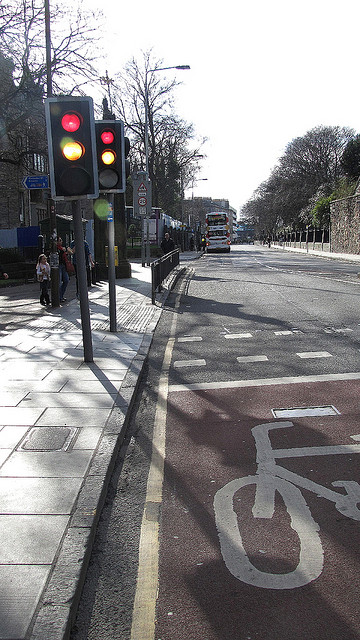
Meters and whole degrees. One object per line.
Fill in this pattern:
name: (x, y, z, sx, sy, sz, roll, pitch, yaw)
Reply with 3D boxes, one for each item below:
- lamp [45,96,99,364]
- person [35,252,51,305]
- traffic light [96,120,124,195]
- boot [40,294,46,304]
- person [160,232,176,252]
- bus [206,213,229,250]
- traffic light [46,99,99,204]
lamp: (-1.423, -1.225, 6.259, 0.655, 3.715, 1.141, -1, 3, -12)
person: (-4.317, -1.308, 14.880, 0.404, 1.582, 1.009, -1, 3, -17)
traffic light: (-1.241, -2.839, 8.240, 0.503, 1.358, 0.294, -3, -10, -3)
boot: (-4.285, -0.700, 14.761, 0.173, 0.380, 0.259, -4, 12, -9)
person: (-0.800, -5.240, 31.162, 0.832, 1.431, 3.481, 0, 3, -3)
bus: (4.720, -11.435, 59.169, 2.691, 4.516, 2.667, 0, 3, 4)
traffic light: (-1.410, -2.229, 6.135, 0.594, 1.330, 0.405, -9, 45, -17)
